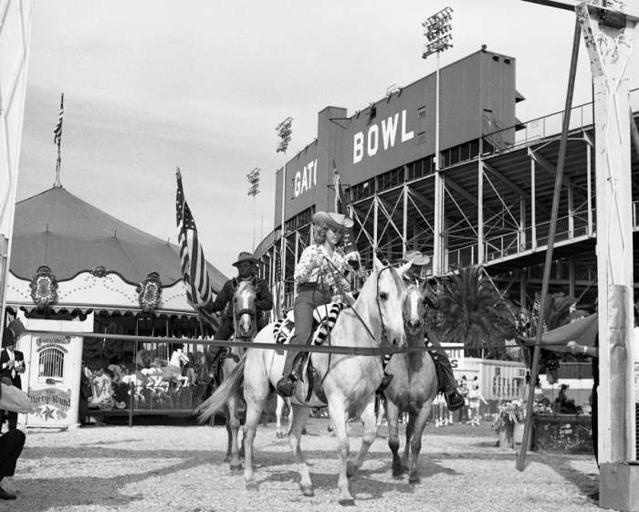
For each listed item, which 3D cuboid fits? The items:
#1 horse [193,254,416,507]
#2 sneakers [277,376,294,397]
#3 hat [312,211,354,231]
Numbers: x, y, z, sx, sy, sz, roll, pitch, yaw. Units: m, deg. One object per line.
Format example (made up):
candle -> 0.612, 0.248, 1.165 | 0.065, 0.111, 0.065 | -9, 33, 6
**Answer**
horse -> -0.065, 1.820, 13.205 | 3.489, 3.276, 0.849 | -12, -16, 43
sneakers -> -0.484, 1.859, 13.344 | 0.280, 0.322, 0.213 | 4, -12, -8
hat -> 0.210, -0.532, 13.667 | 0.598, 0.324, 0.412 | 0, -12, -3
